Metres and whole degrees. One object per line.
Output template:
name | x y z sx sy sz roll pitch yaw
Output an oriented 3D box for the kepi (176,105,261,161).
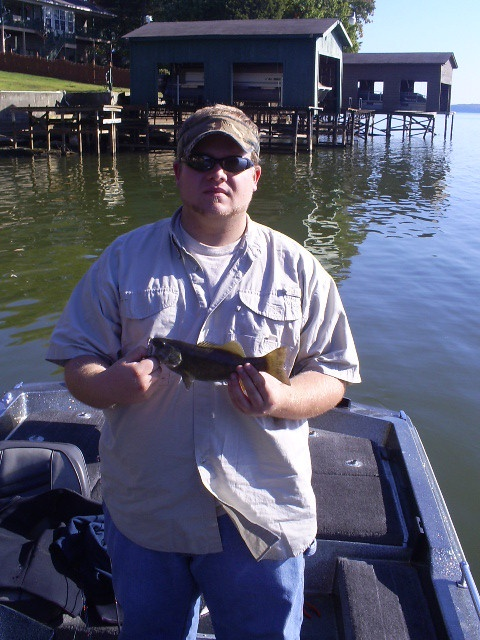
kepi | -0.064 -0.614 1.901 0.197 0.135 0.264 2 -4 2
